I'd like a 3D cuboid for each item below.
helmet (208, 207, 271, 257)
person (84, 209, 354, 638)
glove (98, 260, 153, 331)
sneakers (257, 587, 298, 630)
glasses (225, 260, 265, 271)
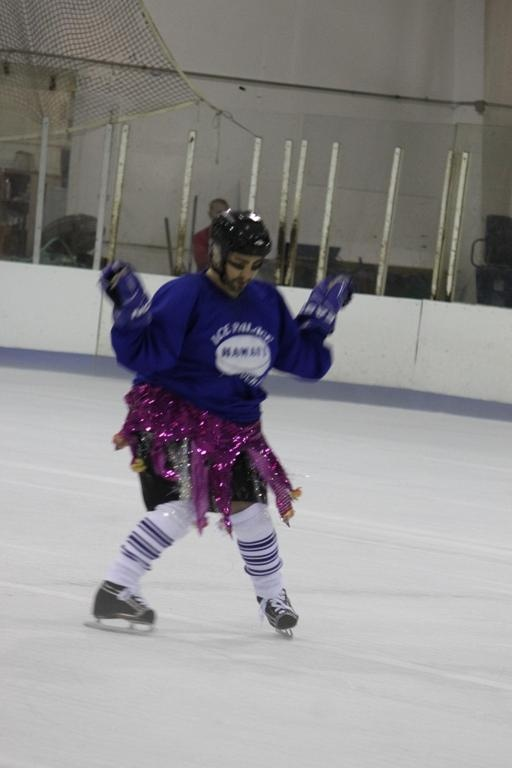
[{"bbox_3d":[-0.041,-0.336,1.808,0.105,0.109,0.128,3,14,-17],"label":"helmet"},{"bbox_3d":[-0.086,0.086,1.938,0.628,0.967,0.369,6,5,-12],"label":"person"},{"bbox_3d":[-0.271,-0.185,1.722,0.111,0.132,0.082,6,5,-14],"label":"glove"},{"bbox_3d":[0.055,0.536,1.931,0.050,0.055,0.135,-22,-6,-6],"label":"sneakers"},{"bbox_3d":[-0.027,-0.257,1.792,0.084,0.019,0.076,2,-5,-15],"label":"glasses"}]
